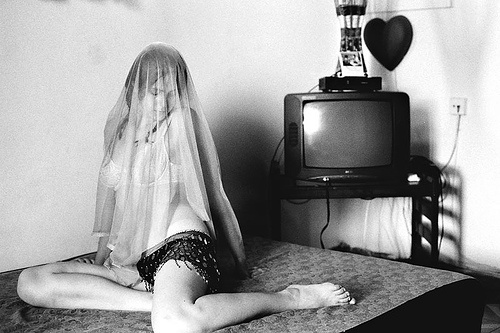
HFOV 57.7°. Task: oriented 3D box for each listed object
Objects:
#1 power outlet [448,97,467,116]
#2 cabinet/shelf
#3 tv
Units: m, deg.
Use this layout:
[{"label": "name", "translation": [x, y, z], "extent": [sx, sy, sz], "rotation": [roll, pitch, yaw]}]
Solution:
[{"label": "power outlet", "translation": [1.417, -0.412, 3.089], "extent": [0.071, 0.136, 0.121], "rotation": [-7, 9, -43]}, {"label": "cabinet/shelf", "translation": [0.743, 0.325, 3.117], "extent": [0.684, 0.660, 0.312], "rotation": [3, 16, 13]}, {"label": "tv", "translation": [0.624, -0.198, 3.210], "extent": [0.901, 0.607, 0.510], "rotation": [-1, 1, -7]}]
